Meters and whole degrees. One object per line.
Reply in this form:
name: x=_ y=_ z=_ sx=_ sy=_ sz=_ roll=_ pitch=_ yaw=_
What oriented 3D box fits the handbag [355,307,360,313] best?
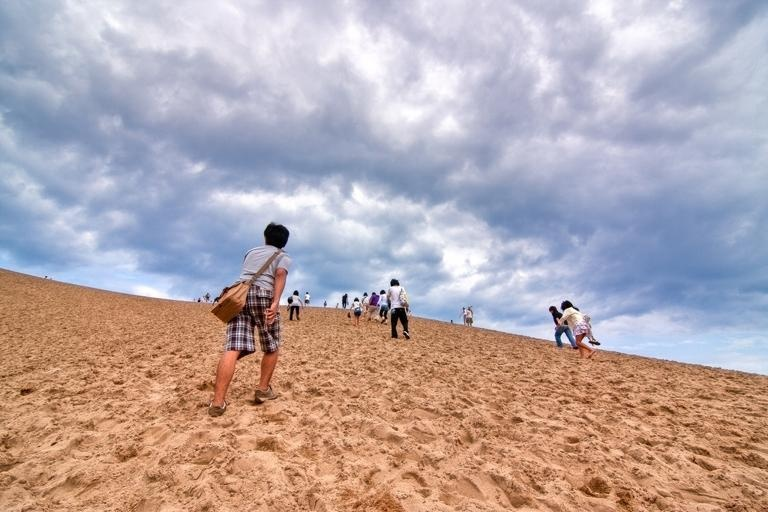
handbag: x=-1.141 y=2.254 z=17.131 sx=0.244 sy=0.173 sz=0.234 roll=-6 pitch=10 yaw=-10

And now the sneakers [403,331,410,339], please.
sneakers: x=0.667 y=2.392 z=12.260 sx=0.113 sy=0.149 sz=0.354 roll=-24 pitch=-34 yaw=-4

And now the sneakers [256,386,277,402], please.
sneakers: x=-1.857 y=2.192 z=6.457 sx=0.156 sy=0.156 sz=0.369 roll=0 pitch=-2 yaw=32

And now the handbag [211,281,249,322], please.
handbag: x=-2.236 y=0.665 z=5.898 sx=0.529 sy=0.609 sz=0.257 roll=1 pitch=-2 yaw=-22

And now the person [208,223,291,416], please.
person: x=-1.943 y=0.883 z=6.140 sx=0.987 sy=2.856 sz=1.044 roll=0 pitch=-2 yaw=19

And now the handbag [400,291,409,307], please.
handbag: x=0.565 y=1.255 z=11.807 sx=0.188 sy=0.498 sz=0.530 roll=0 pitch=-2 yaw=-1
